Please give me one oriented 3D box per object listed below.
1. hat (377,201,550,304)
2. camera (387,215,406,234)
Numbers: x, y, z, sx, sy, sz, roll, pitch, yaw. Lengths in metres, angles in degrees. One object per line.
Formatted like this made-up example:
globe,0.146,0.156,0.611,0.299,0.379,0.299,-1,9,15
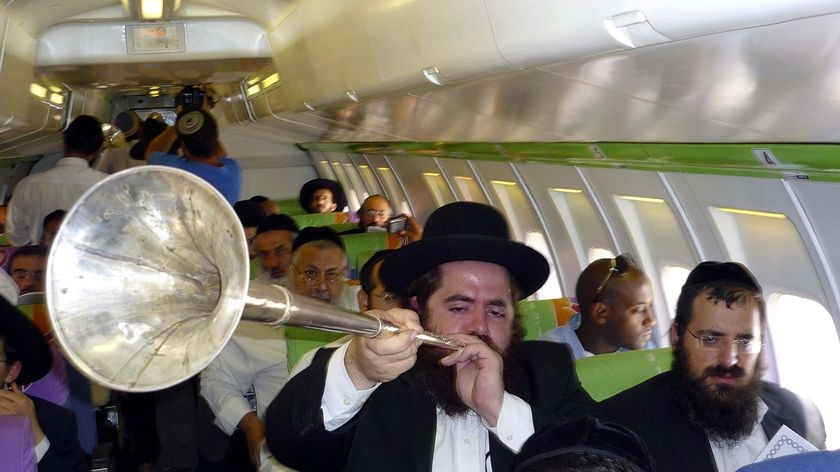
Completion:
hat,0.201,0.186,3.046,0.728,0.262,0.732,5,-15,-9
camera,-0.286,-0.156,6.038,0.280,0.170,0.194,0,-1,11
